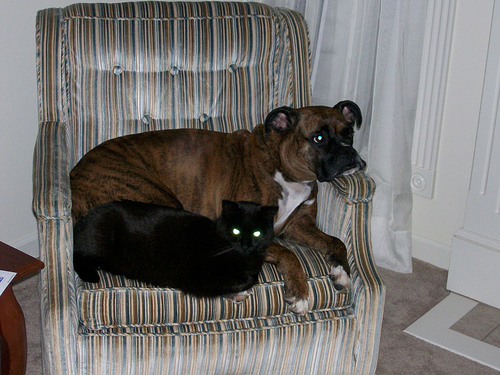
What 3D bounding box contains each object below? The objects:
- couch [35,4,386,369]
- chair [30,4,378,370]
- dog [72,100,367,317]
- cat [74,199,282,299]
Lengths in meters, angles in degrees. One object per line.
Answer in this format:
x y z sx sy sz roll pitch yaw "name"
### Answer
-0.313 0.073 3.288 1.512 2.161 1.978 -3 31 -10 "couch"
-0.349 -0.023 3.252 1.482 2.504 1.832 -3 16 -11 "chair"
-0.242 0.027 2.877 1.270 1.027 0.687 10 -5 5 "dog"
-0.325 0.185 2.526 0.743 0.475 0.437 2 4 -2 "cat"
